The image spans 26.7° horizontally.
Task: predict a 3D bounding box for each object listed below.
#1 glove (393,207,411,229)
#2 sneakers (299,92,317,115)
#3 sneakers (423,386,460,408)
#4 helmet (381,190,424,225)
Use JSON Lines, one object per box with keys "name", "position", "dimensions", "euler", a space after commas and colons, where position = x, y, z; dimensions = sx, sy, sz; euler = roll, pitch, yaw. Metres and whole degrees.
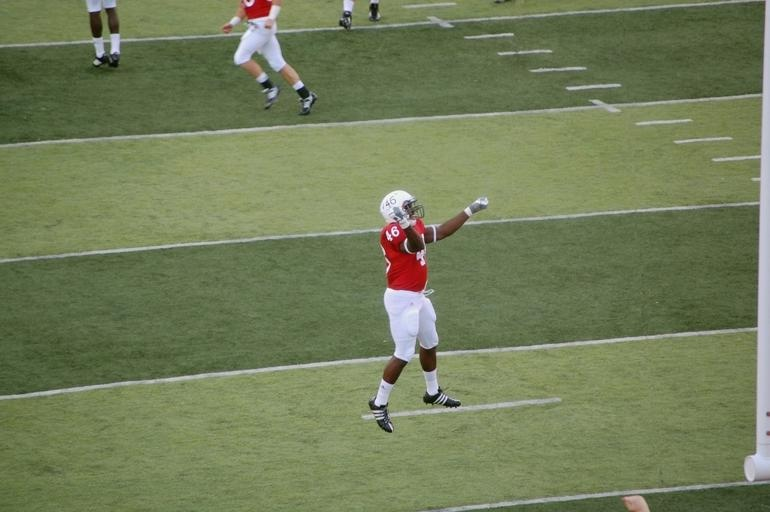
{"name": "glove", "position": [0.244, -0.465, 20.419], "dimensions": [0.181, 0.281, 0.202], "euler": [-32, 56, 3]}
{"name": "sneakers", "position": [-1.233, -2.467, 26.411], "dimensions": [0.303, 0.151, 0.483], "euler": [7, -11, -7]}
{"name": "sneakers", "position": [0.718, 1.848, 21.146], "dimensions": [0.632, 0.235, 0.191], "euler": [5, 20, -13]}
{"name": "helmet", "position": [0.285, -0.628, 20.693], "dimensions": [0.629, 0.283, 0.406], "euler": [-7, -11, 24]}
